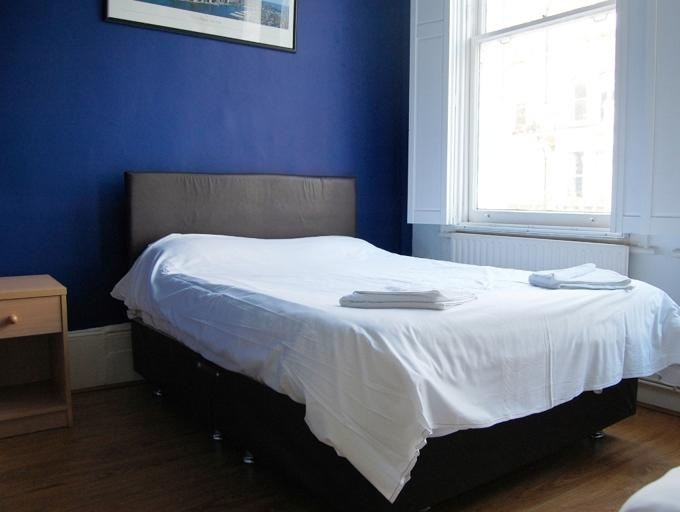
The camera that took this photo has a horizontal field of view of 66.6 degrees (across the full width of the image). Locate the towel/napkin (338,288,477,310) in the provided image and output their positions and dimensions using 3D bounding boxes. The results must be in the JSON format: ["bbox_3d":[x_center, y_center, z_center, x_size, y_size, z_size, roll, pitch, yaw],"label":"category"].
[{"bbox_3d":[0.327,0.186,2.321,0.646,0.096,0.222,-1,10,-6],"label":"towel/napkin"}]
